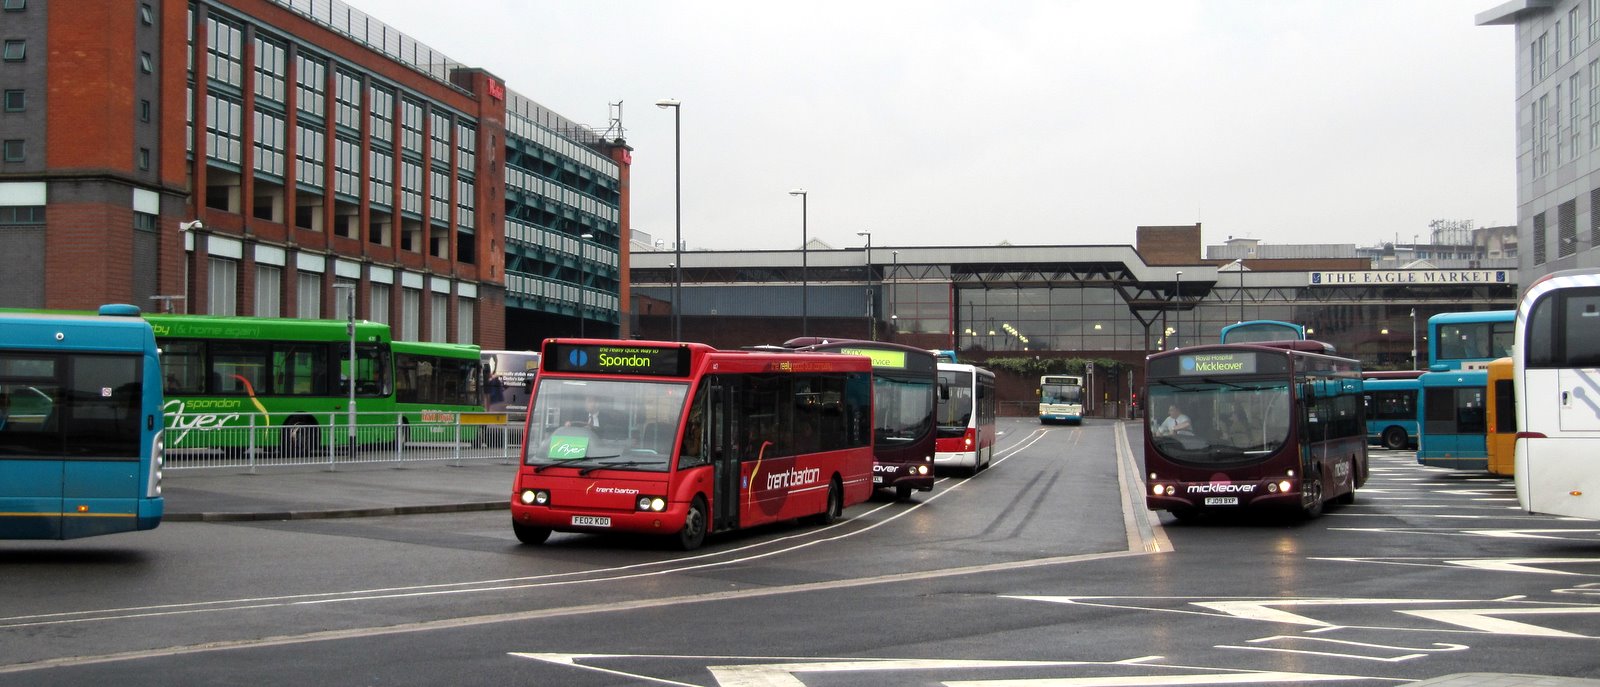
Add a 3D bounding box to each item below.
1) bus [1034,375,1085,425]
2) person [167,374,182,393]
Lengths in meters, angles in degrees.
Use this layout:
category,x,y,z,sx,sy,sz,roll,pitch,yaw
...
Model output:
category,x,y,z,sx,sy,sz,roll,pitch,yaw
bus,22.892,4.944,130.211,4.963,4.788,12.380,1,0,13
person,-33.283,2.118,79.432,0.998,0.853,0.630,3,7,-9
